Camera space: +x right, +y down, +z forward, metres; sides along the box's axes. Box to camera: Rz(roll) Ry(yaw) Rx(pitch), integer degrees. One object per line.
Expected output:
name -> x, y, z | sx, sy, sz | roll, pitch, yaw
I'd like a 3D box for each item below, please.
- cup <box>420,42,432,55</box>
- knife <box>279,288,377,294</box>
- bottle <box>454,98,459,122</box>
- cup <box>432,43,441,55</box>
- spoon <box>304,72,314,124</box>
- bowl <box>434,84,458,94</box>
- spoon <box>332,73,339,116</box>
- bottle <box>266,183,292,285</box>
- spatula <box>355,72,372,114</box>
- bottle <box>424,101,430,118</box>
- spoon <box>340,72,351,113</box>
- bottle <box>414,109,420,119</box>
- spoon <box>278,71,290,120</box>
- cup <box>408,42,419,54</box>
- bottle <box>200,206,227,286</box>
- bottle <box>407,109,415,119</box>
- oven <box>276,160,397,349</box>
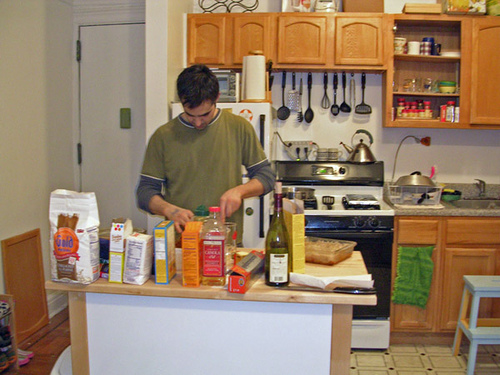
cup -> 1.519, -1.206, 4.066 | 0.102, 0.117, 0.103 | -1, 6, 0
knife -> 0.351, 0.475, 2.158 | 0.434, 0.023, 0.019 | 1, 6, 4
bottle -> 1.787, -0.675, 4.066 | 0.043, 0.208, 0.171 | 3, 7, 23
cup -> 1.634, -1.207, 4.093 | 0.100, 0.103, 0.056 | -3, 7, -23
spoon -> 0.544, -0.821, 4.322 | 0.081, 0.458, 0.071 | -5, 8, -41
bowl -> 1.693, -0.857, 4.081 | 0.156, 0.065, 0.041 | 0, 6, 1
spoon -> 0.779, -0.850, 4.289 | 0.046, 0.381, 0.085 | 4, 7, 34
bottle -> 0.124, 0.218, 2.161 | 0.103, 0.473, 0.057 | 0, 6, 0
spatula -> 1.034, -0.855, 4.271 | 0.145, 0.363, 0.087 | 1, 6, 11
bottle -> 1.546, -0.683, 4.109 | 0.049, 0.134, 0.071 | 2, 7, 20
spoon -> 0.862, -0.865, 4.284 | 0.080, 0.357, 0.125 | 6, 8, 42
bottle -> 1.442, -0.637, 4.064 | 0.047, 0.082, 0.054 | 1, 6, 13
spoon -> 0.309, -0.846, 4.309 | 0.074, 0.422, 0.090 | 6, 8, 43
cup -> 1.409, -1.209, 4.058 | 0.077, 0.075, 0.100 | -4, 8, -20
bottle -> -0.161, 0.285, 2.219 | 0.154, 0.367, 0.150 | 2, 9, 0
bottle -> 1.394, -0.639, 4.079 | 0.078, 0.078, 0.069 | -1, 6, -6
oven -> 0.689, 0.406, 3.960 | 0.889, 1.165, 0.826 | -1, 11, -7
